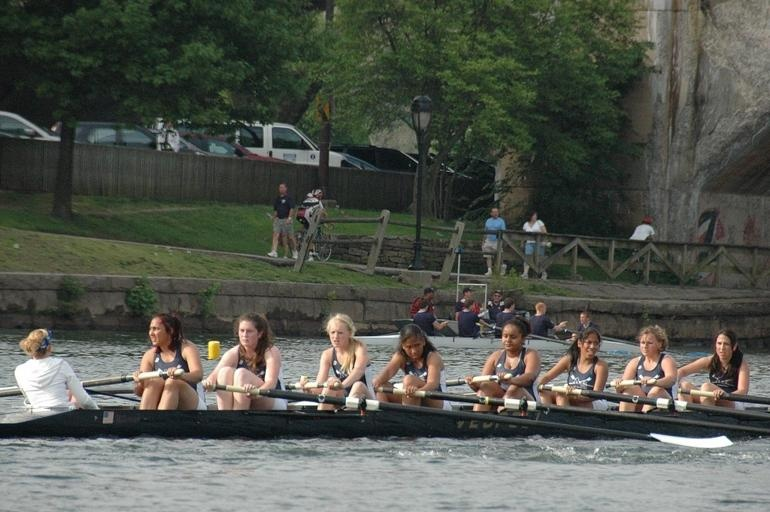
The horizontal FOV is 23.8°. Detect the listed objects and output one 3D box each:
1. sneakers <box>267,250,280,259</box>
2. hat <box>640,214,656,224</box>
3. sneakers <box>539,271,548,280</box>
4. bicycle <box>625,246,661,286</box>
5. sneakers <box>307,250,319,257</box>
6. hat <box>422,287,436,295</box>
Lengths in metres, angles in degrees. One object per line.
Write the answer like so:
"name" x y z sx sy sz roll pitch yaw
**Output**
"sneakers" -3.496 -0.072 56.701 0.410 0.311 0.165 7 14 18
"hat" 8.805 -1.295 61.851 0.423 0.231 0.630 3 1 6
"sneakers" 5.082 0.633 59.383 0.190 0.371 0.159 -17 30 -31
"bicycle" 8.493 0.323 60.471 1.229 1.328 0.169 0 13 -16
"sneakers" -2.263 -0.085 57.487 0.232 0.153 0.122 3 2 -25
"hat" 1.227 1.069 53.374 0.245 0.274 0.206 5 13 -17
